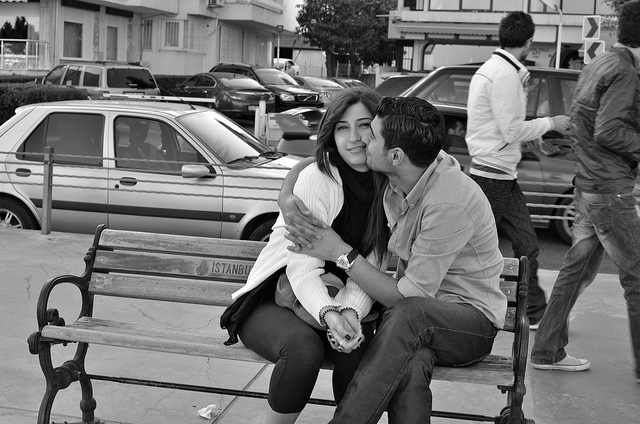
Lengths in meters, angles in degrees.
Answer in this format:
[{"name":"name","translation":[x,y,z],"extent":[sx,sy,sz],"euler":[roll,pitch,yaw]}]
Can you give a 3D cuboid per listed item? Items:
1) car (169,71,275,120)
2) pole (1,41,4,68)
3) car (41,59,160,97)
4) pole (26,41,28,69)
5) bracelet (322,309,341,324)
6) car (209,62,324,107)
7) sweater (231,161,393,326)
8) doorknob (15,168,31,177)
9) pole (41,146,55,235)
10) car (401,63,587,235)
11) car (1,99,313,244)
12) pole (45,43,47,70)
[{"name":"car","translation":[-4.002,-4.538,25.048],"extent":[4.469,1.578,1.970],"euler":[20,22,38]},{"name":"pole","translation":[-15.347,-7.563,30.365],"extent":[0.066,1.127,0.237],"euler":[-3,10,-43]},{"name":"car","translation":[-7.714,-4.777,22.738],"extent":[3.674,1.315,2.168],"euler":[2,7,-16]},{"name":"pole","translation":[-14.011,-7.529,30.047],"extent":[0.077,1.177,0.315],"euler":[0,8,-28]},{"name":"bracelet","translation":[0.075,0.634,3.797],"extent":[0.126,0.095,0.044],"euler":[-1,9,-36]},{"name":"car","translation":[-2.371,-5.642,27.540],"extent":[4.696,1.635,2.041],"euler":[3,10,12]},{"name":"sweater","translation":[0.087,0.204,4.448],"extent":[0.942,1.292,1.118],"euler":[-7,-5,44]},{"name":"doorknob","translation":[-3.870,-0.510,8.190],"extent":[0.198,0.113,0.051],"euler":[5,7,8]},{"name":"pole","translation":[-3.466,-0.259,7.976],"extent":[0.118,1.147,0.371],"euler":[1,8,-24]},{"name":"car","translation":[2.165,-1.047,9.654],"extent":[3.646,1.878,2.154],"euler":[-1,11,6]},{"name":"car","translation":[-2.240,-0.592,8.538],"extent":[3.493,1.585,2.031],"euler":[1,10,5]},{"name":"pole","translation":[-13.245,-7.569,30.383],"extent":[0.096,1.193,0.083],"euler":[1,8,-23]}]
